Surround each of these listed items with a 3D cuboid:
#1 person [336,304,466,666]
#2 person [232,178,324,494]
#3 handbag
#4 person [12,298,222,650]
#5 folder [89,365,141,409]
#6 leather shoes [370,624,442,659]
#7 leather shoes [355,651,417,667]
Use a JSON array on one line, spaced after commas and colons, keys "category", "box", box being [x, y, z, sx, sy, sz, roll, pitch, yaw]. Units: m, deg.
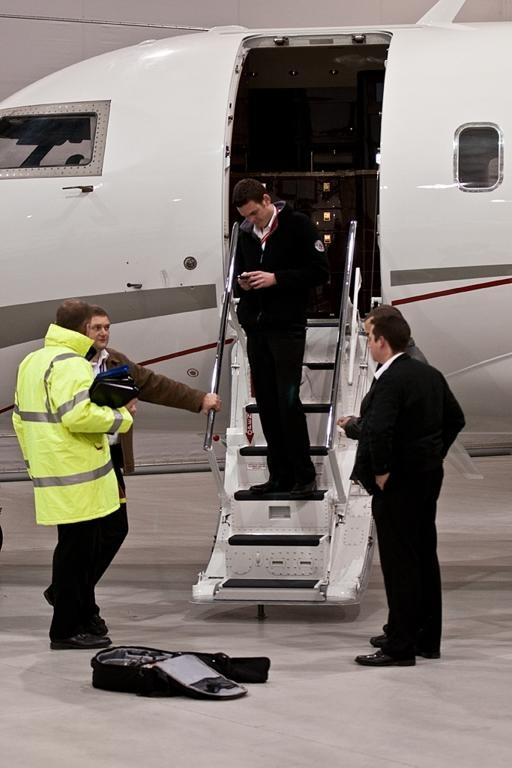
[{"category": "person", "box": [0.683, 0.524, 3.839, 0.471, 1.773, 0.582, 4, 9, 29]}, {"category": "person", "box": [0.151, -0.235, 4.667, 0.518, 1.842, 0.494, -1, 8, -1]}, {"category": "handbag", "box": [-0.365, 1.210, 3.369, 0.463, 0.107, 0.298, 0, -3, 20]}, {"category": "person", "box": [-0.909, 0.516, 4.114, 0.569, 1.879, 0.873, -3, 8, -16]}, {"category": "folder", "box": [-0.671, 0.029, 3.759, 0.217, 0.214, 0.230, -2, 8, -11]}, {"category": "leather shoes", "box": [0.695, 1.300, 4.050, 0.450, 0.173, 0.141, 4, -3, 4]}, {"category": "leather shoes", "box": [0.614, 1.293, 3.779, 0.283, 0.088, 0.096, 2, -12, 8]}]
